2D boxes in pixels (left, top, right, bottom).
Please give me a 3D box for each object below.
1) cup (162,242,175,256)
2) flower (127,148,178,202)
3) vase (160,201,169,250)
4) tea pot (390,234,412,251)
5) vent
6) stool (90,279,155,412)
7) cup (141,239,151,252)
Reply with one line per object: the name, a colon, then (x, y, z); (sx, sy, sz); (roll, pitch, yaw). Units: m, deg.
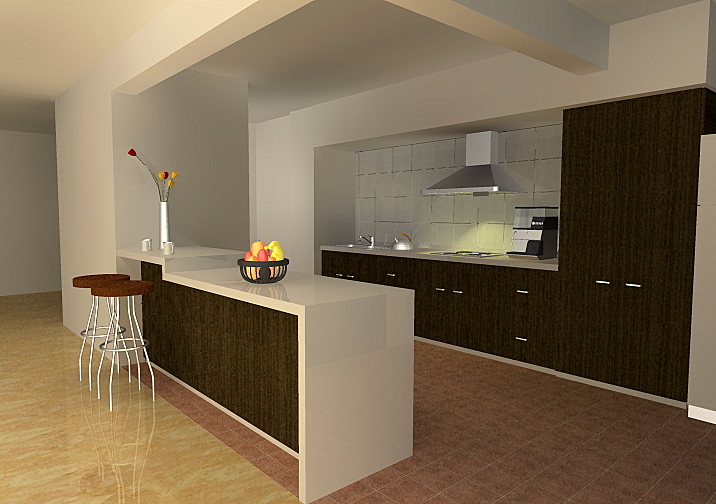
cup: (-1.808, -0.018, 4.642); (0.153, 0.143, 0.099); (2, 3, 41)
flower: (-2.152, -0.821, 5.227); (0.438, 0.685, 0.212); (-5, 41, -1)
vase: (-1.995, -0.306, 4.963); (0.080, 0.408, 0.241); (-3, 11, -17)
tea pot: (0.643, -0.106, 6.633); (0.245, 0.163, 0.244); (0, -1, 0)
vent: (1.486, -1.073, 5.908); (0.850, 0.737, 1.165); (-1, 6, -31)
stool: (-2.209, 0.747, 4.469); (0.431, 0.893, 0.457); (10, 7, 36)
cup: (-2.193, -0.061, 4.957); (0.112, 0.146, 0.140); (-1, 2, -1)
